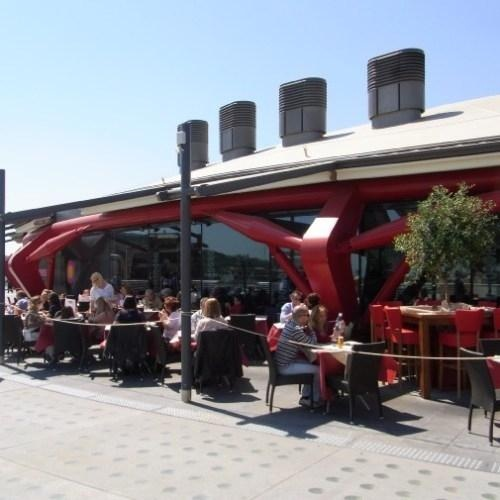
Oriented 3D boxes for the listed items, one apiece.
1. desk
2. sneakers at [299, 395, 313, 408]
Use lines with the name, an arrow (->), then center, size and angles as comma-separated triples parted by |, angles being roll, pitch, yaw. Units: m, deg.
desk -> 1.202, 1.416, 6.695 | 0.811, 0.591, 0.795 | 3, -10, -28
sneakers -> 0.705, 1.902, 6.824 | 0.235, 0.098, 0.080 | -5, -5, 42
